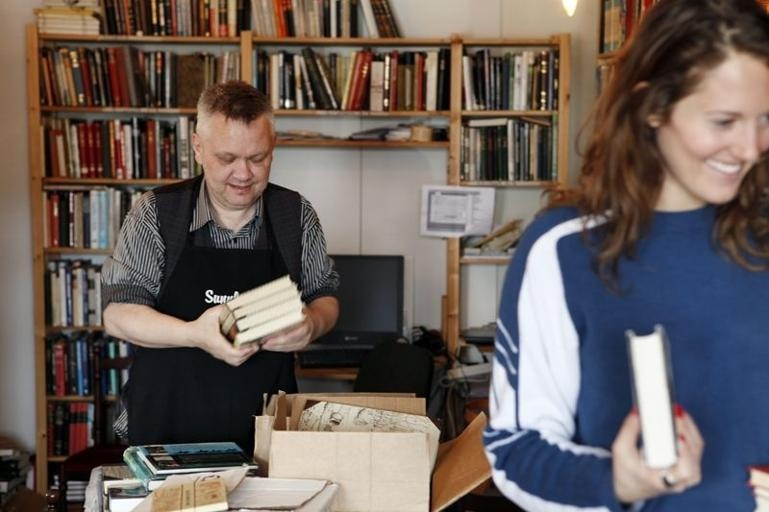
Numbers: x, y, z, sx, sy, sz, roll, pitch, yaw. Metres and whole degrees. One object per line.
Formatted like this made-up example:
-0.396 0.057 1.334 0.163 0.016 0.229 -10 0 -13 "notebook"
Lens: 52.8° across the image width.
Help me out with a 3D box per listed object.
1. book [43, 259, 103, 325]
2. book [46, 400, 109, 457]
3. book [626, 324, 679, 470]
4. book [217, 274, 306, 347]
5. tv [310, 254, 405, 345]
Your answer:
-1.746 0.195 4.562 0.382 0.483 0.504 0 3 -11 "book"
-1.724 0.964 4.363 0.295 0.367 0.384 3 -6 -20 "book"
0.595 0.311 1.712 0.103 0.308 0.068 -2 8 8 "book"
-0.367 0.202 2.356 0.244 0.072 0.225 -20 -7 -29 "book"
-0.136 0.240 4.003 0.542 0.510 0.054 0 0 0 "tv"
